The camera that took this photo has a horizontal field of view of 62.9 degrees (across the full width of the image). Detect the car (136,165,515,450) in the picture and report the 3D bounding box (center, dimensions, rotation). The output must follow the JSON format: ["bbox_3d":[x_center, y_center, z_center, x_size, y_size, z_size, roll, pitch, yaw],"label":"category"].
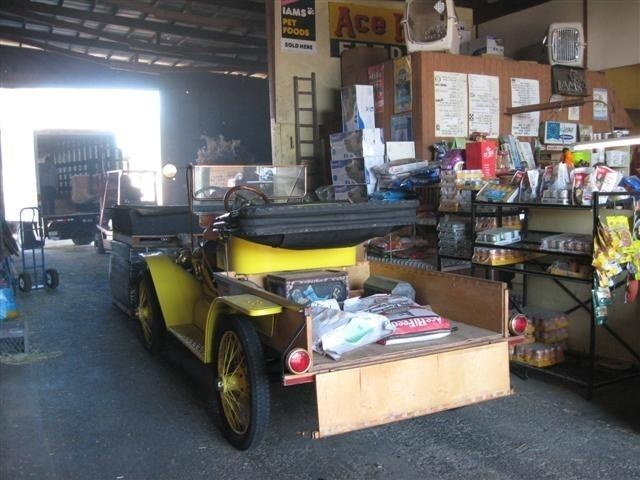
[{"bbox_3d":[-0.193,0.240,4.297,1.655,1.390,2.938,-4,12,-27],"label":"car"}]

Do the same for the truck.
[{"bbox_3d":[-5.698,-1.331,13.501,1.845,2.748,3.470,-2,-9,-38],"label":"truck"}]
